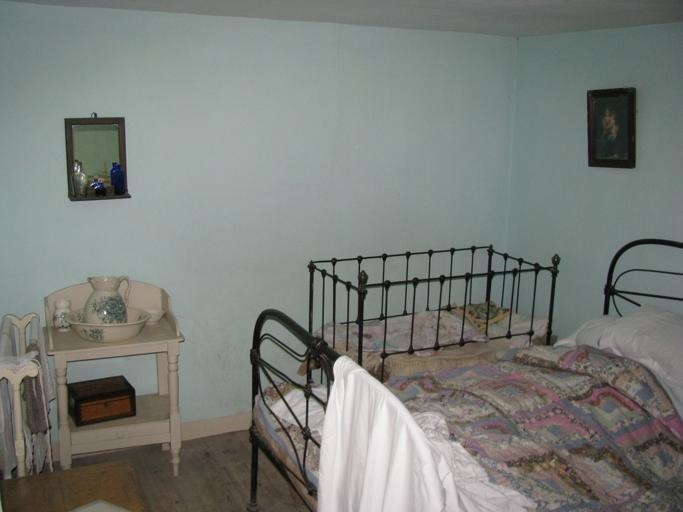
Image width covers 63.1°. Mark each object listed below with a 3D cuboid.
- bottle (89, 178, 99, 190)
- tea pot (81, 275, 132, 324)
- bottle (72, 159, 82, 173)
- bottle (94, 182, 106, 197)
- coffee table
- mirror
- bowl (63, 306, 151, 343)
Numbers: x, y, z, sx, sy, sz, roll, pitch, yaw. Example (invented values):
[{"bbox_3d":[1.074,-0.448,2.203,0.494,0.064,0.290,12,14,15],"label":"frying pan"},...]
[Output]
[{"bbox_3d":[-1.494,-0.439,3.389,0.052,0.057,0.098,1,4,-18],"label":"bottle"},{"bbox_3d":[-1.361,0.250,3.241,0.284,0.330,0.238,2,0,-36],"label":"tea pot"},{"bbox_3d":[-1.583,-0.539,3.345,0.061,0.075,0.063,2,4,-3],"label":"bottle"},{"bbox_3d":[-1.470,-0.402,3.395,0.072,0.079,0.138,2,-1,-18],"label":"bottle"},{"bbox_3d":[-1.351,0.824,3.413,0.815,1.287,0.502,-3,-2,-23],"label":"coffee table"},{"bbox_3d":[-1.477,-0.590,3.363,0.329,0.503,0.273,-12,38,-33],"label":"mirror"},{"bbox_3d":[-1.384,0.418,3.330,0.453,0.151,0.353,-3,7,-26],"label":"bowl"}]
